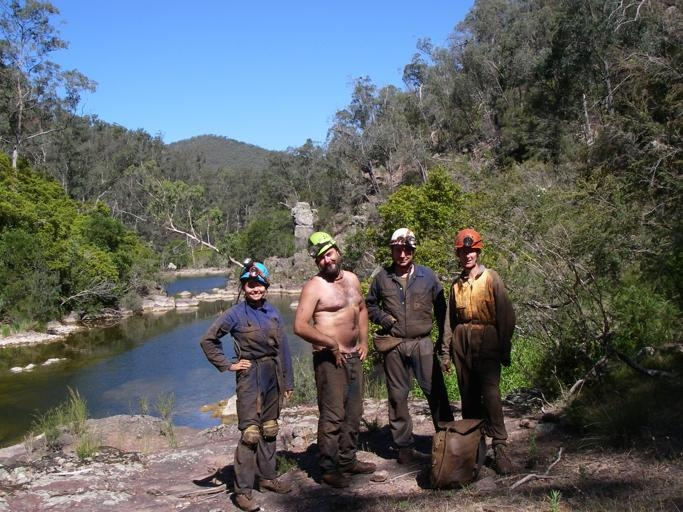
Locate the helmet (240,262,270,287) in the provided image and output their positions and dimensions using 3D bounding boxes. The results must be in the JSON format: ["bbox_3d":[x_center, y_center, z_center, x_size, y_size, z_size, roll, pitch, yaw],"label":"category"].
[{"bbox_3d":[-1.131,0.209,6.796,0.266,0.328,0.372,8,7,-12],"label":"helmet"}]

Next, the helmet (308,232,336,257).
[{"bbox_3d":[-0.257,-0.180,6.710,0.339,0.301,0.265,-32,8,-13],"label":"helmet"}]

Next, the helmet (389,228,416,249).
[{"bbox_3d":[0.899,-0.230,7.008,0.360,0.258,0.545,-10,-5,44],"label":"helmet"}]

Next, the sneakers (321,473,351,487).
[{"bbox_3d":[-0.065,2.887,6.610,0.345,0.178,0.157,-6,-5,22],"label":"sneakers"}]

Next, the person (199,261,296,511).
[{"bbox_3d":[-1.153,1.624,6.631,1.054,2.293,0.589,-5,-3,-10],"label":"person"}]

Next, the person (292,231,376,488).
[{"bbox_3d":[-0.087,1.318,6.697,0.985,2.641,0.470,-5,-3,-14],"label":"person"}]

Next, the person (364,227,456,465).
[{"bbox_3d":[0.952,1.194,7.024,1.042,3.168,0.852,-5,13,1],"label":"person"}]

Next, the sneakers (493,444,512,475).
[{"bbox_3d":[1.947,2.493,6.217,0.197,0.369,0.105,-12,-33,15],"label":"sneakers"}]
